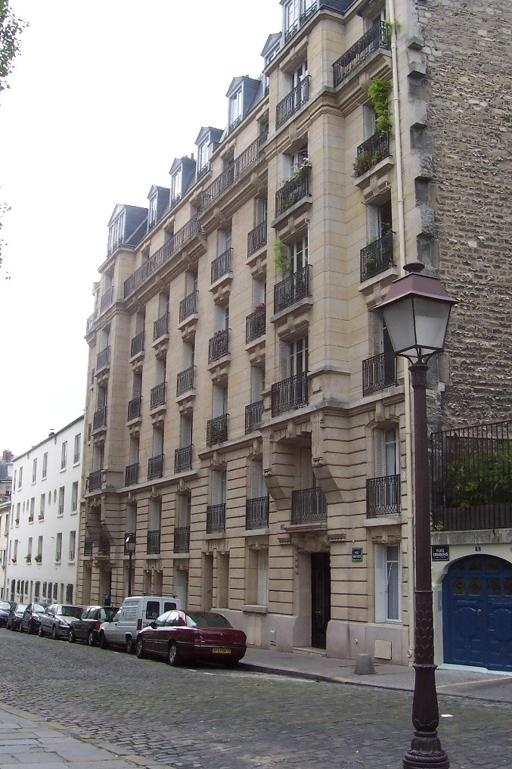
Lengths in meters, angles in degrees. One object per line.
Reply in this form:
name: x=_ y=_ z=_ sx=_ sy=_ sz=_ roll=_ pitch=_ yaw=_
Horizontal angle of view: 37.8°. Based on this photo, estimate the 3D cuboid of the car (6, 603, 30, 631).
car: x=-12.353 y=11.864 z=38.454 sx=1.189 sy=1.233 sz=2.868 roll=7 pitch=-35 yaw=-19

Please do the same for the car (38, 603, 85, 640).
car: x=-8.200 y=9.892 z=31.538 sx=1.533 sy=1.158 sz=2.868 roll=9 pitch=-29 yaw=-21

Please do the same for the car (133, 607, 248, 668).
car: x=-1.595 y=6.037 z=17.940 sx=1.306 sy=0.974 sz=2.875 roll=9 pitch=-16 yaw=-27

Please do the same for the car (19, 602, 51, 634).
car: x=-10.297 y=10.847 z=34.828 sx=1.300 sy=1.101 sz=2.279 roll=9 pitch=-30 yaw=-23

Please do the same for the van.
van: x=-3.720 y=7.565 z=23.688 sx=1.582 sy=1.579 sz=3.197 roll=13 pitch=-27 yaw=-24

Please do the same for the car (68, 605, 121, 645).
car: x=-5.884 y=8.851 z=27.394 sx=1.437 sy=1.369 sz=3.109 roll=7 pitch=-14 yaw=-25
